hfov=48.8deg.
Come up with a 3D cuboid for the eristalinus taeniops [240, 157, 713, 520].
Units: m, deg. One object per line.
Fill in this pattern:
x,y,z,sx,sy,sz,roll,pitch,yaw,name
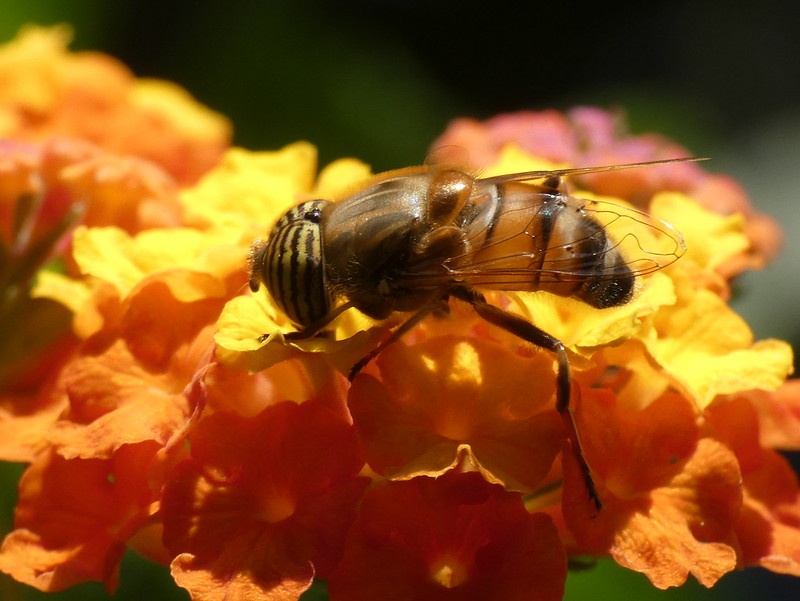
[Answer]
0.047,-0.003,0.877,0.343,0.132,0.364,-5,17,-8,eristalinus taeniops
